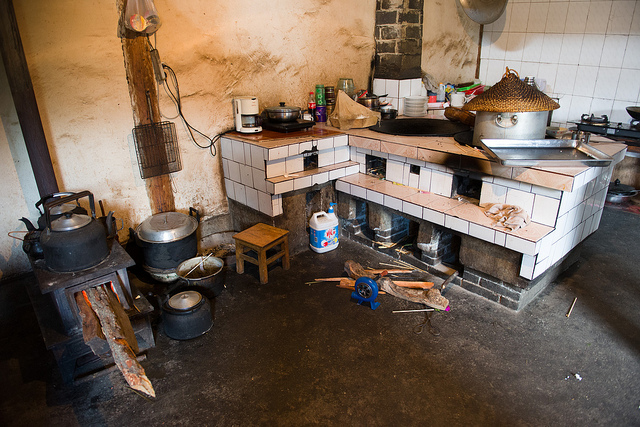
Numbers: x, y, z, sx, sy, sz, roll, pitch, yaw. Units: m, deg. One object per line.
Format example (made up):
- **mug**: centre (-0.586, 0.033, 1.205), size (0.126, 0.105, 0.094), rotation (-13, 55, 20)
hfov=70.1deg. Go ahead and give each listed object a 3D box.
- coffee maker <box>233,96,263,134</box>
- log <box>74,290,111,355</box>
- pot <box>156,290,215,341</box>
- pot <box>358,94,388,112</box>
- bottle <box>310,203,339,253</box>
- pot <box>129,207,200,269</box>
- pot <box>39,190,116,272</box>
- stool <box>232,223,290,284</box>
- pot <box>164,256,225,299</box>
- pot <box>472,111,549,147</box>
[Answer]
- **coffee maker**: centre (-0.813, -1.124, 5.185), size (0.305, 0.398, 0.305), rotation (-8, 25, -13)
- **log**: centre (-1.941, 0.903, 3.883), size (0.158, 0.157, 0.708), rotation (-31, 37, -20)
- **pot**: centre (-1.272, 0.966, 4.289), size (0.525, 0.257, 0.336), rotation (-16, 29, -35)
- **pot**: centre (0.659, -1.399, 5.736), size (0.309, 0.122, 0.194), rotation (19, 27, 36)
- **bottle**: centre (0.047, 0.161, 5.339), size (0.357, 0.514, 0.271), rotation (-16, 25, -35)
- **pot**: centre (-1.708, 0.260, 4.970), size (0.851, 0.516, 0.724), rotation (-10, 30, -32)
- **pot**: centre (-2.159, 0.075, 4.073), size (0.473, 0.534, 0.611), rotation (32, 40, 28)
- **stool**: centre (-0.610, 0.420, 4.987), size (0.523, 0.495, 0.417), rotation (-22, 31, -37)
- **pot**: centre (-1.290, 0.567, 4.668), size (0.608, 0.237, 0.376), rotation (15, -2, -31)
- **pot**: centre (1.821, -0.847, 4.355), size (0.416, 0.435, 0.406), rotation (1, 19, 0)
